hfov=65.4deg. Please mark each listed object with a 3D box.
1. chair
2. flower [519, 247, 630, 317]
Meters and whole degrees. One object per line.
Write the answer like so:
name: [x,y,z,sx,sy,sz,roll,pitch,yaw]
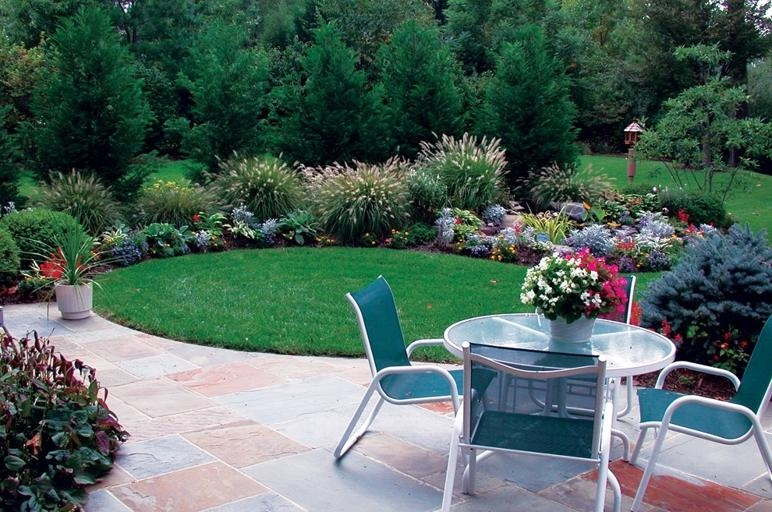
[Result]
chair: [1.148,0.955,5.289,3.160,1.492,1.180,-1,9,10]
flower: [1.658,0.266,5.327,0.773,0.570,0.860,-12,12,-16]
